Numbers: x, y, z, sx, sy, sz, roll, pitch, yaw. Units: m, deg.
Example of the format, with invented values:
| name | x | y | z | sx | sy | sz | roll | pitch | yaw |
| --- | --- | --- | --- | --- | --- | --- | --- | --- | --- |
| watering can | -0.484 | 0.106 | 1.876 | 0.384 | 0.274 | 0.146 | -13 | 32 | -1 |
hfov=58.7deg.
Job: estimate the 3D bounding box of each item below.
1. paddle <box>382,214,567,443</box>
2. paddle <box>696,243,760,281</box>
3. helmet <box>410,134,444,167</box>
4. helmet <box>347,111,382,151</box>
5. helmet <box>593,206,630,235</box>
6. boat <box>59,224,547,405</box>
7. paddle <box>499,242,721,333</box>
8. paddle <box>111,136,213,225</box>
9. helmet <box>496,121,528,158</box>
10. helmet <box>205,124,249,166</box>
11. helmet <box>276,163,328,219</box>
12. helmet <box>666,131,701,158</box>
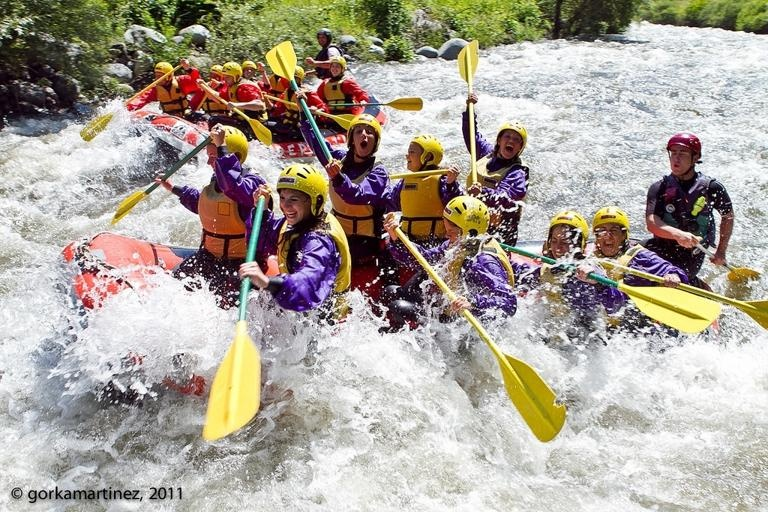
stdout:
| name | x | y | z | sx | sy | sz | roll | pitch | yaw |
| --- | --- | --- | --- | --- | --- | --- | --- | --- | --- |
| paddle | 0.952 | 0.840 | 7.170 | 0.609 | 3.175 | 0.144 | -42 | -12 | 5 |
| paddle | 4.469 | 0.090 | 8.936 | 0.692 | 0.184 | 0.102 | 40 | 40 | 25 |
| helmet | 0.577 | -1.251 | 8.097 | 0.427 | 0.370 | 0.308 | -3 | 27 | -19 |
| helmet | -0.166 | -1.430 | 7.971 | 0.389 | 0.478 | 0.431 | 4 | 7 | 3 |
| helmet | 2.514 | -0.452 | 7.645 | 0.328 | 0.424 | 0.347 | -5 | 12 | 27 |
| boat | -1.595 | 0.374 | 8.188 | 3.988 | 1.269 | 2.097 | 14 | 19 | -31 |
| paddle | 1.993 | 0.129 | 7.364 | 2.944 | 0.130 | 0.572 | 19 | 59 | 28 |
| paddle | -2.873 | -1.068 | 9.020 | 0.225 | 0.141 | 1.949 | -26 | 21 | 47 |
| helmet | 1.678 | -1.500 | 8.777 | 0.361 | 0.463 | 0.391 | 8 | 5 | 11 |
| helmet | -1.736 | -1.262 | 7.810 | 0.385 | 0.426 | 0.486 | 6 | 1 | 21 |
| helmet | -0.718 | -0.699 | 6.686 | 0.433 | 0.516 | 0.447 | 6 | 33 | 15 |
| helmet | 3.607 | -1.359 | 8.073 | 0.316 | 0.433 | 0.211 | 0 | 65 | 58 |
